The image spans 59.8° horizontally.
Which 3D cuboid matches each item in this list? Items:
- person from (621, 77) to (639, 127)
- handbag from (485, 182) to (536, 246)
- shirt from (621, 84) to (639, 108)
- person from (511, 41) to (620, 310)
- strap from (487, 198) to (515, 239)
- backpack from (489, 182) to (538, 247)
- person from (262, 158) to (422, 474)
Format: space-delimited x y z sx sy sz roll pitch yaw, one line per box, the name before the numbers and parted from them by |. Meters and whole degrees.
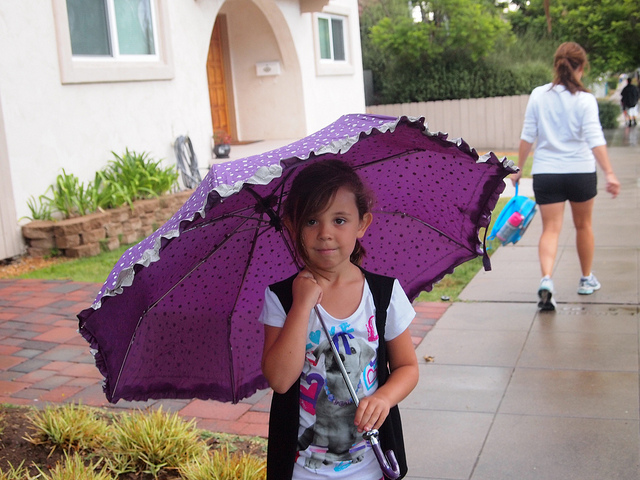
person | 10.321 -4.608 18.661 0.508 1.535 2.645 4 16 28
handbag | 2.325 -0.289 6.625 0.565 0.627 0.444 -4 14 3
shirt | 10.486 -4.901 18.910 0.492 0.701 1.585 4 17 28
person | 2.348 -0.601 5.357 0.847 2.494 0.735 2 14 20
strap | 2.266 -0.230 6.803 0.097 0.441 0.399 27 2 -6
backpack | 2.331 -0.422 6.570 0.424 0.516 0.364 8 12 38
person | 0.064 0.299 2.033 0.563 1.129 0.434 -1 14 10
